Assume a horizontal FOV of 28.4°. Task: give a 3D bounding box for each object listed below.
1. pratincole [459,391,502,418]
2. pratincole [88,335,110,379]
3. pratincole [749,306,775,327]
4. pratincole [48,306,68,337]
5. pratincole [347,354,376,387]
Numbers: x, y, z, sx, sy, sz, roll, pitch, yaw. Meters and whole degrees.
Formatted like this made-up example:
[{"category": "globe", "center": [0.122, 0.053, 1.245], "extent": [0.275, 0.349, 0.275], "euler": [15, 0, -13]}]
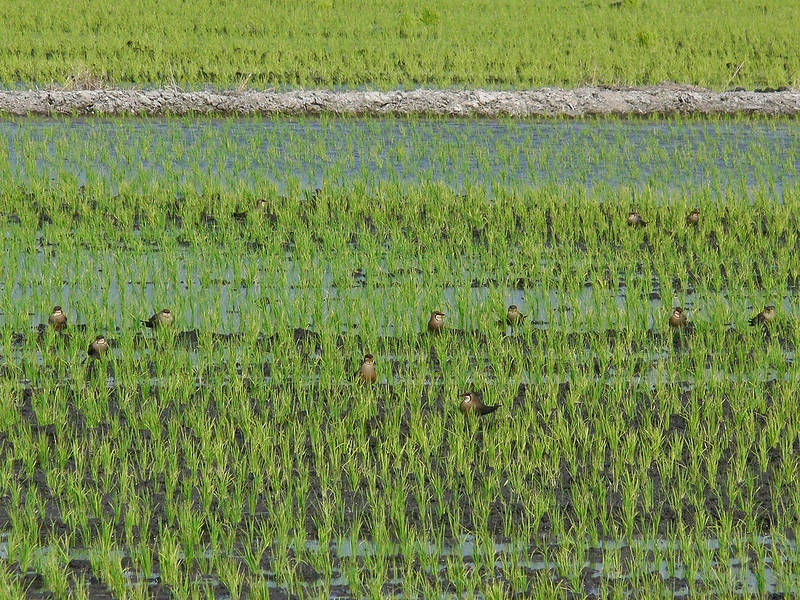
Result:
[{"category": "pratincole", "center": [0.629, 0.824, 13.102], "extent": [0.257, 0.270, 0.175], "euler": [8, 1, 3]}, {"category": "pratincole", "center": [-2.612, 0.488, 13.593], "extent": [0.169, 0.250, 0.316], "euler": [0, 39, -9]}, {"category": "pratincole", "center": [3.238, 0.104, 14.172], "extent": [0.121, 0.202, 0.201], "euler": [-3, 9, -44]}, {"category": "pratincole", "center": [-3.032, 0.148, 14.003], "extent": [0.119, 0.242, 0.216], "euler": [9, 7, -4]}, {"category": "pratincole", "center": [-0.326, 0.573, 13.416], "extent": [0.146, 0.261, 0.278], "euler": [11, 55, -20]}]
